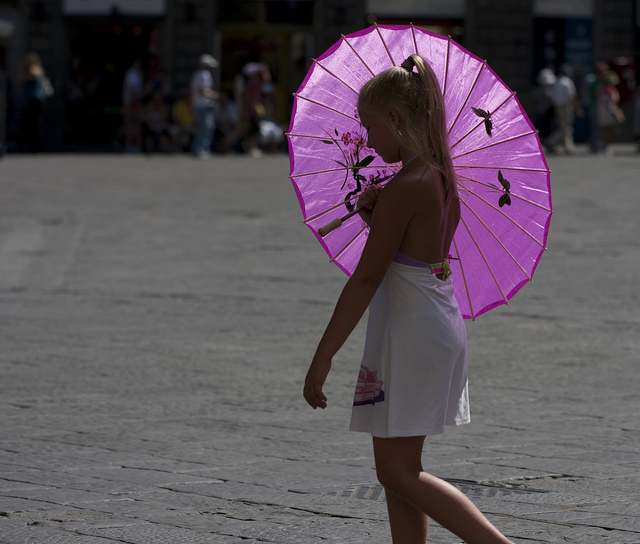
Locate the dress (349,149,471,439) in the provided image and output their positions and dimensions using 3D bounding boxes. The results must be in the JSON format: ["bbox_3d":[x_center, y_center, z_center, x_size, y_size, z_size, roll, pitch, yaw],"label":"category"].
[{"bbox_3d":[0.313,0.233,4.729,0.435,0.621,0.236,-1,11,-11],"label":"dress"}]

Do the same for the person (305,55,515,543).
[{"bbox_3d":[0.315,0.093,4.684,0.652,1.585,0.402,2,11,6],"label":"person"}]
